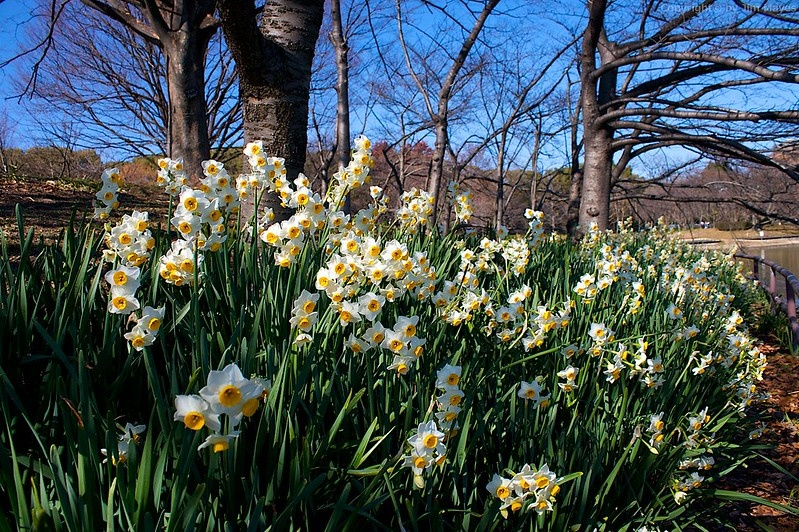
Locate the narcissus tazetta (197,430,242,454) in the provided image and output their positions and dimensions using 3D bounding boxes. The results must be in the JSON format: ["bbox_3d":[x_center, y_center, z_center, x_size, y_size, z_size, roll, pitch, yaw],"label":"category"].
[{"bbox_3d":[-0.815,0.805,2.764,0.164,0.111,0.310,2,0,-14],"label":"narcissus tazetta"}]

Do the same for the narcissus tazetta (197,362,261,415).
[{"bbox_3d":[-0.747,0.547,2.660,0.227,0.111,0.200,14,-1,-29],"label":"narcissus tazetta"}]

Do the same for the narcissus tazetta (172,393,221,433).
[{"bbox_3d":[-0.878,0.657,2.639,0.154,0.171,0.060,16,13,-36],"label":"narcissus tazetta"}]
